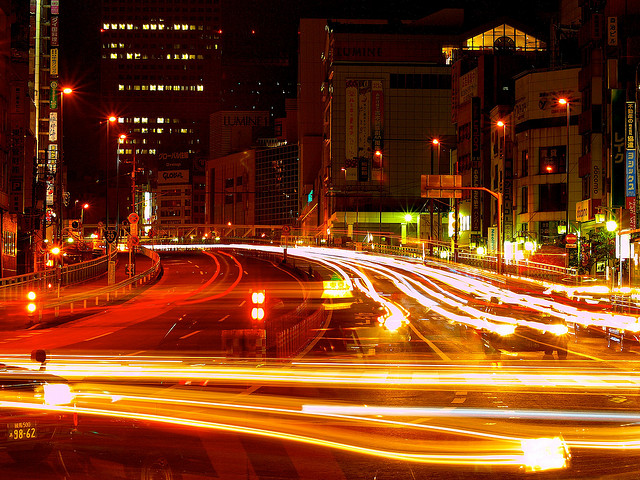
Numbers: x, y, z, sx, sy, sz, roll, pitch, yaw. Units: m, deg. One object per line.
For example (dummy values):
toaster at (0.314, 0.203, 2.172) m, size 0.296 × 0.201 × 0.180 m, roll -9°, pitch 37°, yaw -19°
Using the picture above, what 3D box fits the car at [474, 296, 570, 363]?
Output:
car at (8.486, 3.820, 37.235) m, size 2.303 × 2.121 × 5.404 m, roll 0°, pitch -5°, yaw -6°

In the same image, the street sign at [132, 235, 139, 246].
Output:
street sign at (-13.356, -0.074, 62.292) m, size 0.461 × 0.652 × 0.567 m, roll -2°, pitch -32°, yaw -17°

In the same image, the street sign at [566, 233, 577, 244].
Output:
street sign at (18.752, -0.170, 64.254) m, size 0.681 × 0.807 × 2.299 m, roll -1°, pitch -5°, yaw 18°

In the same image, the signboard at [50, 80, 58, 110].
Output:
signboard at (-34.853, -19.207, 112.352) m, size 0.898 × 3.814 × 1.298 m, roll 2°, pitch -4°, yaw -23°

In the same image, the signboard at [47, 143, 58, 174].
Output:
signboard at (-33.882, -10.564, 109.052) m, size 1.126 × 4.168 × 4.928 m, roll 2°, pitch -5°, yaw -17°

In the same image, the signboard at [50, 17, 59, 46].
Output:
signboard at (-34.939, -27.571, 113.087) m, size 0.681 × 3.815 × 2.112 m, roll 1°, pitch -4°, yaw -6°

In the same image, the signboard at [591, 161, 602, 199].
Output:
signboard at (25.792, -5.699, 80.145) m, size 0.941 × 3.643 × 0.788 m, roll -1°, pitch -4°, yaw 21°

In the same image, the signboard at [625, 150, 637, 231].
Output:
signboard at (25.930, -4.346, 71.677) m, size 0.839 × 6.441 × 1.195 m, roll -2°, pitch -4°, yaw 29°

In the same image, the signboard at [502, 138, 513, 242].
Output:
signboard at (22.330, -6.130, 102.001) m, size 1.190 × 12.379 × 2.006 m, roll -1°, pitch -4°, yaw 20°

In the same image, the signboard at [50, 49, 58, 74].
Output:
signboard at (-34.305, -23.393, 111.090) m, size 1.256 × 3.320 × 0.586 m, roll -2°, pitch -4°, yaw 29°

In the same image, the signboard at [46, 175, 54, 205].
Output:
signboard at (-31.637, -5.972, 100.868) m, size 0.869 × 3.244 × 2.828 m, roll 2°, pitch -4°, yaw -17°
